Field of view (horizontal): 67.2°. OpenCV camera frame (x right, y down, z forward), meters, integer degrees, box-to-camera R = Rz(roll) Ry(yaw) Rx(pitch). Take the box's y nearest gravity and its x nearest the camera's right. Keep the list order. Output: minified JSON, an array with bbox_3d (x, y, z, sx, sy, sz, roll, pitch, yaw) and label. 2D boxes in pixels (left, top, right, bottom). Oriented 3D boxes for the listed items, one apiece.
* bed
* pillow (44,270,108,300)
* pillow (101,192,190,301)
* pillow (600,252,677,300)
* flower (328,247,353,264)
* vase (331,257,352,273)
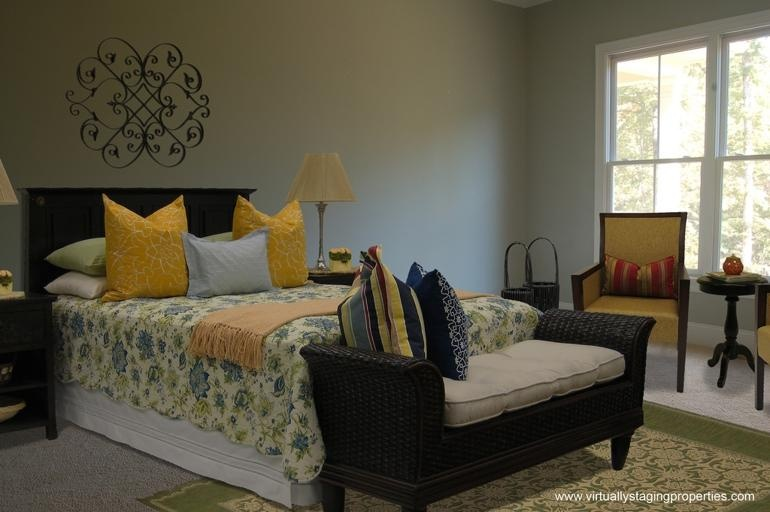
[{"bbox_3d":[-0.958,0.558,3.827,2.420,1.559,1.998,1,3,38],"label":"bed"},{"bbox_3d":[-2.051,0.200,3.852,0.311,0.101,0.207,3,12,28],"label":"pillow"},{"bbox_3d":[-1.597,-0.036,3.812,0.619,0.734,0.291,-6,-8,-24],"label":"pillow"},{"bbox_3d":[2.122,0.169,4.808,0.567,0.344,0.223,3,11,23],"label":"pillow"},{"bbox_3d":[-0.376,-0.003,4.851,0.145,0.098,0.141,-1,1,7],"label":"flower"},{"bbox_3d":[-0.369,0.077,4.818,0.120,0.082,0.127,0,1,-24],"label":"vase"}]
